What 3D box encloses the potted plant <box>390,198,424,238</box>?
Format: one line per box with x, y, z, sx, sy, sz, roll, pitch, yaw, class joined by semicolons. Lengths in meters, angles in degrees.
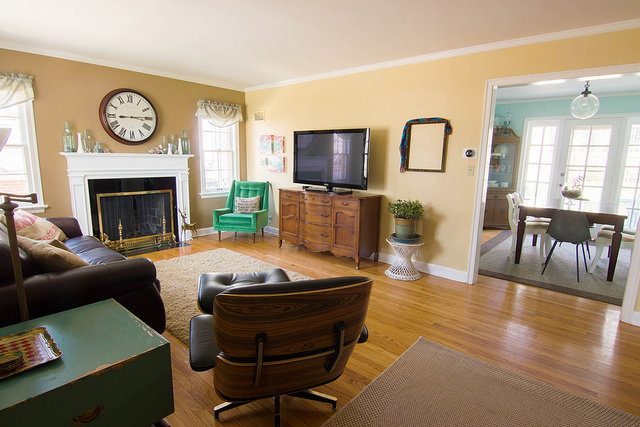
1.171;0.058;5.649;0.426;0.507;0.453;8;15;27;potted plant

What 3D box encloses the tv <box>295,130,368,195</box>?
0.108;-0.778;6.235;1.403;0.938;0.373;-4;12;-33;tv

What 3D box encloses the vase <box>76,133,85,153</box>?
-3.395;-0.997;5.827;0.102;0.263;0.156;-7;16;-29;vase

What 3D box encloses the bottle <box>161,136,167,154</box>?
-2.511;-1.103;6.637;0.053;0.267;0.102;6;15;18;bottle

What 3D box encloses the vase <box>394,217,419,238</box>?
1.139;0.191;5.470;0.253;0.222;0.295;3;15;6;vase

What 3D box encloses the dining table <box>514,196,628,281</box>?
3.838;0.209;6.143;1.212;0.872;1.464;6;9;38;dining table

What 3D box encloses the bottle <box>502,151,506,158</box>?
3.662;-1.164;8.251;0.081;0.104;0.025;0;6;-6;bottle

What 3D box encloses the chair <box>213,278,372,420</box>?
-0.260;1.038;3.233;1.054;1.286;1.125;-1;18;-16;chair

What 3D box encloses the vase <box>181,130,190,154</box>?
-2.225;-1.177;6.806;0.111;0.385;0.125;-1;14;-8;vase

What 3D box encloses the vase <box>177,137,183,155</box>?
-2.297;-1.099;6.748;0.081;0.256;0.150;-1;14;-9;vase

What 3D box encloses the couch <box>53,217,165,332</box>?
-2.550;0.532;4.537;2.061;0.774;0.698;18;16;40;couch

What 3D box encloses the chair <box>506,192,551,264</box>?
3.323;0.165;6.597;0.750;1.029;0.641;-5;20;15;chair

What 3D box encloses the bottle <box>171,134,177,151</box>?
-2.376;-1.149;6.729;0.042;0.251;0.106;10;16;30;bottle

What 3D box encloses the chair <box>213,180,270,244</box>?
-1.338;-0.109;7.143;1.020;0.942;1.001;-2;8;-13;chair

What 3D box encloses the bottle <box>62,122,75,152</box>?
-3.514;-1.064;5.741;0.134;0.391;0.138;1;14;0;bottle

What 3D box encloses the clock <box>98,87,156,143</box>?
-2.871;-1.457;6.292;0.852;0.805;0.128;8;25;2;clock

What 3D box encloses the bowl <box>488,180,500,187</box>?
3.517;-0.602;8.404;0.187;0.143;0.197;0;3;0;bowl

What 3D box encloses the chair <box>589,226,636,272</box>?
4.141;0.506;5.869;0.424;0.633;0.798;12;17;37;chair

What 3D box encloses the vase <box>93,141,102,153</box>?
-3.224;-0.961;5.996;0.144;0.147;0.125;-10;18;-39;vase

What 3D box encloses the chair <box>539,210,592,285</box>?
3.480;0.409;5.828;0.658;1.093;0.777;13;23;39;chair

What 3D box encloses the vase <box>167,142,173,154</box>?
-2.423;-1.046;6.652;0.075;0.162;0.124;-4;15;-20;vase
